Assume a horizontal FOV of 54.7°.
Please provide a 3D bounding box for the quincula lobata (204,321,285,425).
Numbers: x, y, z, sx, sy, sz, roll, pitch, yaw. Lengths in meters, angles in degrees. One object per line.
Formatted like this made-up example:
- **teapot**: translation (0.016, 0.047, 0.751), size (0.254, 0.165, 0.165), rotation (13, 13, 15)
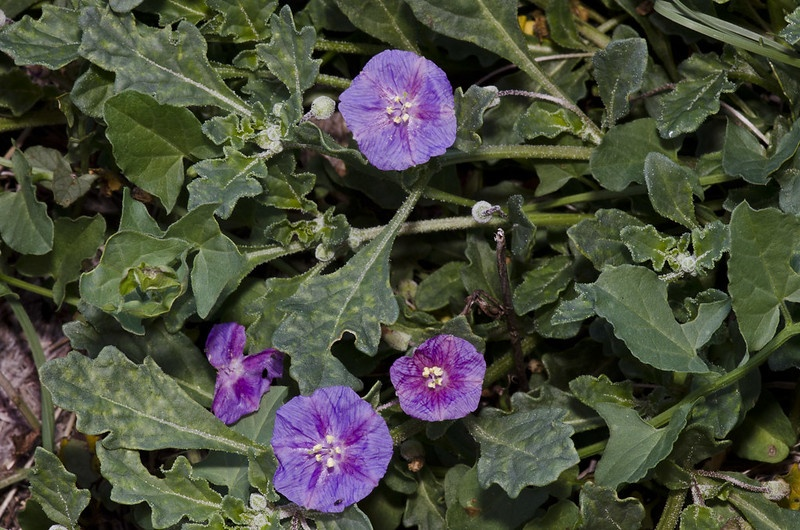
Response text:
- **quincula lobata**: translation (-0.558, 0.373, 2.685), size (0.140, 0.375, 0.338), rotation (-1, 78, 27)

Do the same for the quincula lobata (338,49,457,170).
- **quincula lobata**: translation (0.003, -0.486, 2.447), size (0.348, 0.102, 0.380), rotation (-41, 81, -13)

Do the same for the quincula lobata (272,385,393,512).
- **quincula lobata**: translation (-0.213, 0.568, 2.390), size (0.366, 0.152, 0.363), rotation (-1, 74, -3)

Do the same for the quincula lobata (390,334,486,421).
- **quincula lobata**: translation (0.111, 0.369, 2.404), size (0.278, 0.099, 0.305), rotation (-24, 40, -1)
